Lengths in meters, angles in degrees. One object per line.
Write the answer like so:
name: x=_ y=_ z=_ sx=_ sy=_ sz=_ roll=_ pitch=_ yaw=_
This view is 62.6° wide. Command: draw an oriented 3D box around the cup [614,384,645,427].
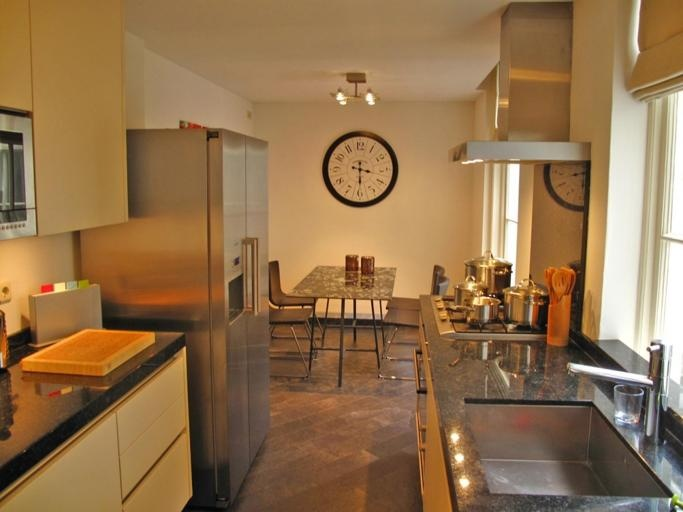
cup: x=1.093 y=0.557 z=2.168 sx=0.136 sy=0.159 sz=0.128 roll=-1 pitch=2 yaw=0

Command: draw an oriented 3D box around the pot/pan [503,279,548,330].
pot/pan: x=1.015 y=0.263 z=3.134 sx=0.217 sy=0.241 sz=0.194 roll=8 pitch=13 yaw=37

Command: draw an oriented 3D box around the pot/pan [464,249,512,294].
pot/pan: x=0.915 y=0.090 z=3.602 sx=0.365 sy=0.317 sz=0.249 roll=6 pitch=13 yaw=40

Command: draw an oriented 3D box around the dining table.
dining table: x=0.065 y=0.591 z=5.310 sx=0.837 sy=0.888 sz=1.720 roll=1 pitch=10 yaw=6

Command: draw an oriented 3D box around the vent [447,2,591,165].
vent: x=0.881 y=-0.946 z=3.256 sx=0.737 sy=1.009 sz=1.011 roll=2 pitch=5 yaw=4

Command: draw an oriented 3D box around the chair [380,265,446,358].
chair: x=0.639 y=0.513 z=5.173 sx=0.482 sy=0.768 sz=0.497 roll=3 pitch=25 yaw=-1

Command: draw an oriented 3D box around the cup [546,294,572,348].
cup: x=1.123 y=0.325 z=2.905 sx=0.111 sy=0.265 sz=0.092 roll=4 pitch=11 yaw=21

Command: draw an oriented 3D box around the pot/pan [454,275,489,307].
pot/pan: x=0.762 y=0.202 z=3.310 sx=0.164 sy=0.188 sz=0.172 roll=0 pitch=0 yaw=-3

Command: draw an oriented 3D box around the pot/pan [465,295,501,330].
pot/pan: x=0.789 y=0.327 z=3.129 sx=0.124 sy=0.129 sz=0.184 roll=1 pitch=1 yaw=8

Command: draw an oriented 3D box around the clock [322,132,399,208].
clock: x=0.242 y=-1.018 z=6.350 sx=0.745 sy=0.822 sz=0.082 roll=3 pitch=14 yaw=5

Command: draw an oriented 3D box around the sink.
sink: x=0.818 y=0.779 z=2.166 sx=0.377 sy=0.262 sz=0.412 roll=0 pitch=5 yaw=3

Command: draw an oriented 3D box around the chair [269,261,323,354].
chair: x=-0.500 y=0.447 z=5.755 sx=0.497 sy=0.736 sz=0.455 roll=0 pitch=13 yaw=-7

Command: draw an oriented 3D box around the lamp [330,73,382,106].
lamp: x=0.127 y=-1.503 z=5.083 sx=0.359 sy=0.272 sz=0.317 roll=2 pitch=5 yaw=6
